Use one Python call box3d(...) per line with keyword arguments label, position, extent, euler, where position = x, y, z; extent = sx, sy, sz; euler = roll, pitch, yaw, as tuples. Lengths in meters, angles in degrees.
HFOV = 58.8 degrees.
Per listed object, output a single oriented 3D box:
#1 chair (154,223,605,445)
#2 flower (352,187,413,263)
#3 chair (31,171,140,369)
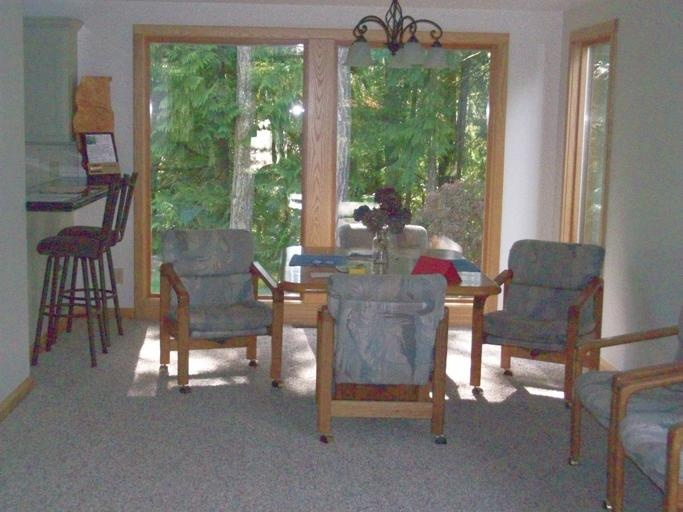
box3d(label="chair", position=(0.195, 0.410, 4.580), extent=(2.924, 1.097, 1.996), euler=(8, 14, 27))
box3d(label="flower", position=(0.324, -0.255, 4.593), extent=(0.495, 0.662, 0.489), euler=(-5, 9, -25))
box3d(label="chair", position=(-2.137, 0.039, 5.097), extent=(0.855, 1.454, 1.293), euler=(-3, 13, -19))
